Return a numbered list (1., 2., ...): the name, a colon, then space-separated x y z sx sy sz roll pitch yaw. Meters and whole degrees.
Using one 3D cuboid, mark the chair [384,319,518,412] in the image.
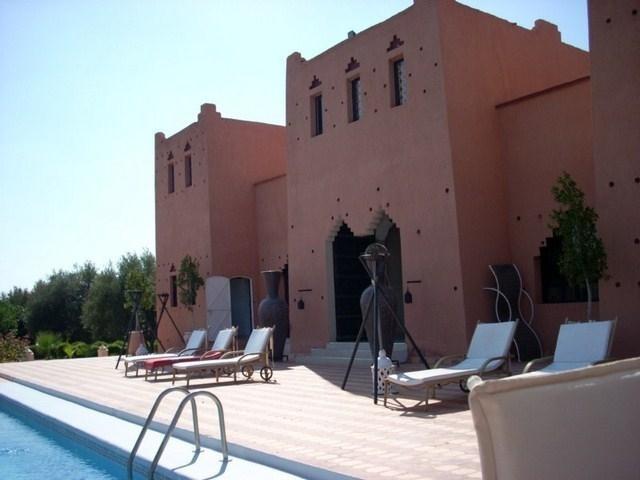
1. chair: 1.923 1.674 7.714 2.170 1.437 0.987 6 -11 -37
